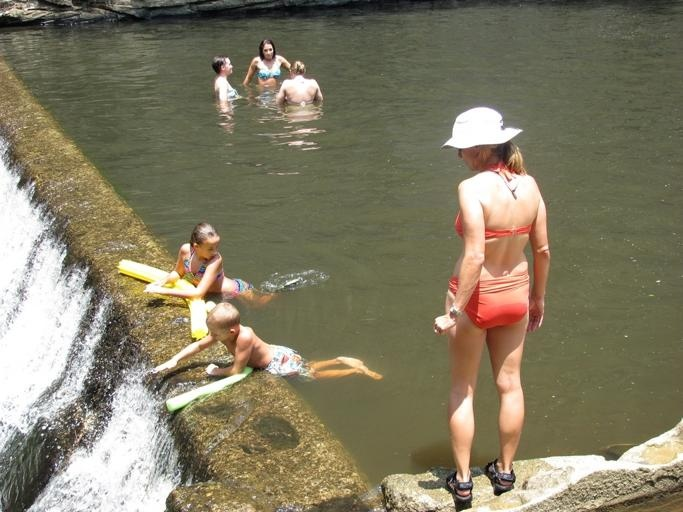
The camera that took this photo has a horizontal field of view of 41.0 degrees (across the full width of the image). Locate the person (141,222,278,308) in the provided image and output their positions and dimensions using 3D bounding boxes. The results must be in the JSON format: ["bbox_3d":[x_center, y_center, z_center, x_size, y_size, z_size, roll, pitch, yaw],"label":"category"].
[{"bbox_3d":[-1.463,0.099,11.241,0.600,0.854,2.057,21,11,40],"label":"person"}]

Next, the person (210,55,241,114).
[{"bbox_3d":[-2.159,-3.235,16.979,0.477,0.934,1.327,-5,30,-6],"label":"person"}]

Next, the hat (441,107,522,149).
[{"bbox_3d":[1.275,-1.156,8.346,0.476,0.206,0.487,-1,16,21],"label":"hat"}]

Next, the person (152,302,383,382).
[{"bbox_3d":[-0.813,0.996,9.945,2.417,0.786,0.530,3,7,-15],"label":"person"}]

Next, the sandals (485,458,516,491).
[{"bbox_3d":[1.509,2.080,8.641,0.154,0.158,0.372,0,23,2],"label":"sandals"}]

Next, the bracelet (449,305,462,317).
[{"bbox_3d":[1.034,0.501,8.295,0.055,0.052,0.095,37,8,-10],"label":"bracelet"}]

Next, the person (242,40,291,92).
[{"bbox_3d":[-1.467,-3.823,18.321,1.450,0.896,0.341,-13,25,-15],"label":"person"}]

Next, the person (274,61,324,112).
[{"bbox_3d":[-0.803,-3.150,16.859,1.041,0.975,0.543,-16,25,-13],"label":"person"}]
